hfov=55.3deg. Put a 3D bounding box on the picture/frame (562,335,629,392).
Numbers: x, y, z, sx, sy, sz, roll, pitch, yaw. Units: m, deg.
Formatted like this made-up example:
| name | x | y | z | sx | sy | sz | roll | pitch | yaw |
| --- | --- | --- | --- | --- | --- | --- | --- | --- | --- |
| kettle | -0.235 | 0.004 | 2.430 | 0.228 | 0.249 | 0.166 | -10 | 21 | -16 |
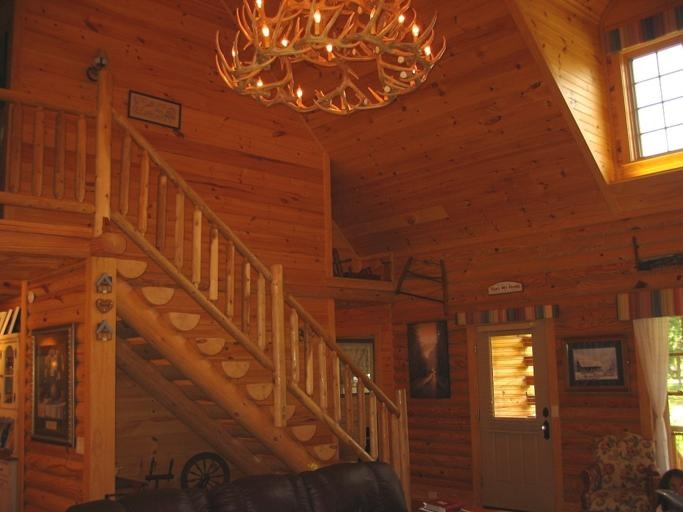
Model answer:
| name | x | y | z | sx | sy | sz | roll | pitch | yaw |
| --- | --- | --- | --- | --- | --- | --- | --- | --- | --- |
| picture/frame | 3.238 | 1.373 | 8.263 | 0.846 | 0.676 | 0.087 | -5 | -6 | 44 |
